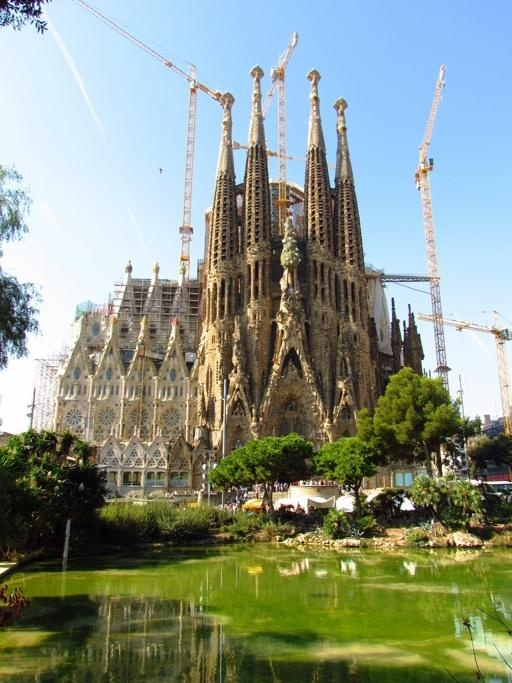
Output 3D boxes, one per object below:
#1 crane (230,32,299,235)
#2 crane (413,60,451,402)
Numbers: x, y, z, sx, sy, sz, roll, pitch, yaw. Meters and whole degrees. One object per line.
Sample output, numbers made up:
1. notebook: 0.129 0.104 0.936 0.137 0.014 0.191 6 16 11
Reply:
1. crane: 3.647 -25.245 68.978 8.444 44.048 2.126 1 -6 -7
2. crane: 16.771 -5.994 50.289 1.070 41.186 6.792 -2 -4 4
